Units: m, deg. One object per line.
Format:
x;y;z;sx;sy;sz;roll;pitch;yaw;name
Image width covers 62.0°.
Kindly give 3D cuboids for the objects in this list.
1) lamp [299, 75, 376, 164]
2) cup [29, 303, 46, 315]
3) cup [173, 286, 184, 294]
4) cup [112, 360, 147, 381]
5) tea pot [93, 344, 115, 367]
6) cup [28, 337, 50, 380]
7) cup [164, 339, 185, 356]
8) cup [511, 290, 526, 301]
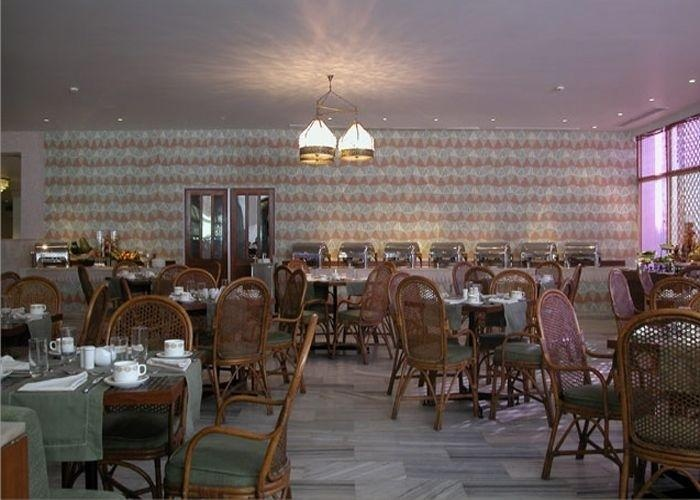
-0.213;-2.011;8.727;1.092;1.438;0.540;-1;15;-1;lamp
-2.594;0.488;4.841;0.088;0.090;0.120;-4;-9;11;cup
-1.730;0.398;5.875;0.079;0.058;0.082;2;4;0;cup
-1.211;0.663;3.207;0.142;0.091;0.108;5;-9;-22;cup
-1.451;0.623;3.426;0.112;0.089;0.087;2;-2;43;tea pot
-1.746;0.594;3.265;0.116;0.211;0.121;-1;11;0;cup
-1.083;0.583;3.577;0.099;0.078;0.101;3;3;0;cup
1.607;0.425;5.536;0.111;0.081;0.090;3;-6;-2;cup
